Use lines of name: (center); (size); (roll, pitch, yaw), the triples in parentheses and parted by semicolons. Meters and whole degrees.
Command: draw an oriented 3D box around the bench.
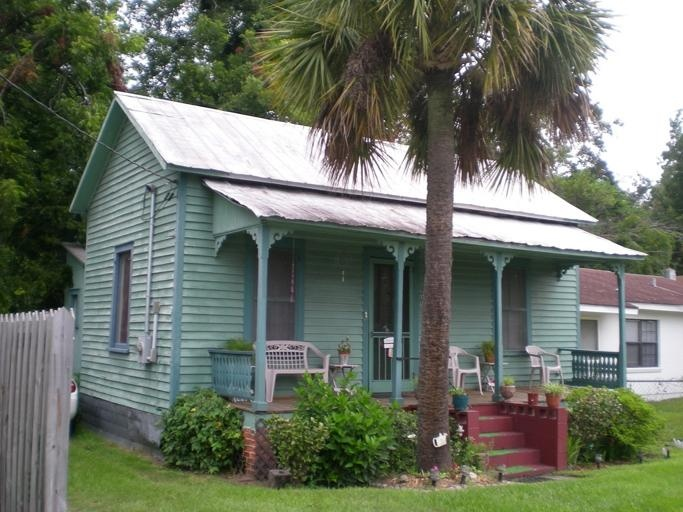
bench: (-0.991, 2.316, 14.505); (1.478, 1.214, 0.822); (6, -7, -35)

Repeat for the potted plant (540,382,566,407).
potted plant: (4.323, 2.797, 14.485); (0.427, 0.501, 0.466); (4, -8, -1)

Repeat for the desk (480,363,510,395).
desk: (3.695, 2.924, 17.203); (0.665, 0.754, 0.725); (0, -6, 3)

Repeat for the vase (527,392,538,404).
vase: (3.878, 2.888, 14.587); (0.180, 0.241, 0.246); (-1, -13, 11)

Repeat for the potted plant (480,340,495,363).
potted plant: (3.533, 2.307, 17.331); (0.394, 0.537, 0.460); (-2, -6, 15)

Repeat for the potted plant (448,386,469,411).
potted plant: (2.335, 2.778, 13.987); (0.419, 0.482, 0.413); (3, -15, -12)

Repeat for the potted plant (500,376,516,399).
potted plant: (3.551, 2.830, 15.363); (0.258, 0.480, 0.548); (-1, -14, 12)
